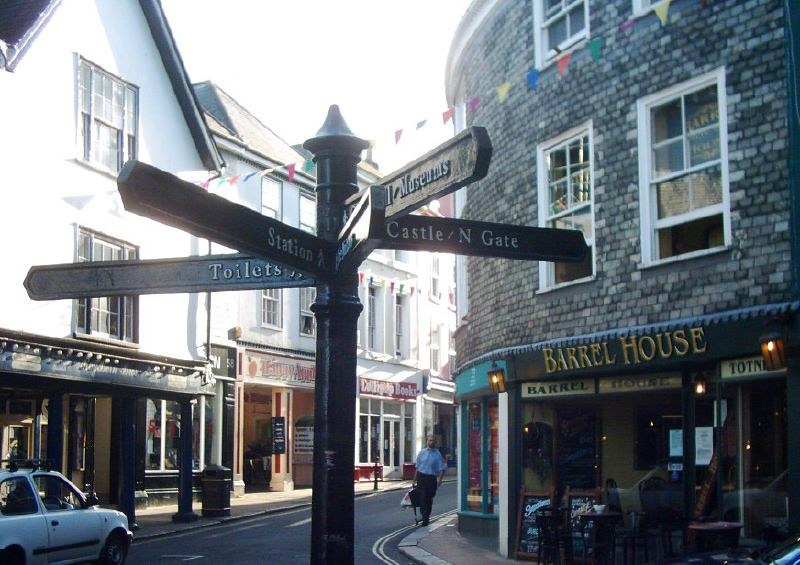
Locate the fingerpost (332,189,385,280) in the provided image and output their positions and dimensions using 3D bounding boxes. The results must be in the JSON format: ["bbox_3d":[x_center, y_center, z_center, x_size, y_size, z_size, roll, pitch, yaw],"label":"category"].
[{"bbox_3d":[-0.376,-0.574,10.994,0.255,0.688,1.032,4,-18,-22],"label":"fingerpost"}]

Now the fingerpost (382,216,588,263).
[{"bbox_3d":[0.889,-0.471,11.649,2.664,0.467,0.657,3,2,-14],"label":"fingerpost"}]

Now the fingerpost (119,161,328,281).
[{"bbox_3d":[-2.810,-0.988,16.316,3.692,0.897,0.724,27,-32,-32],"label":"fingerpost"}]
